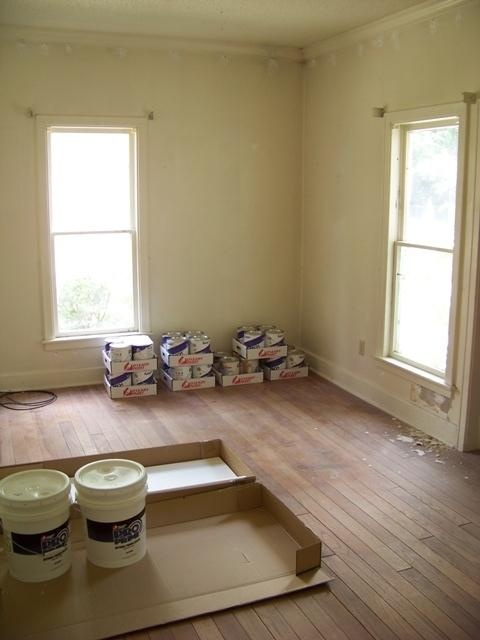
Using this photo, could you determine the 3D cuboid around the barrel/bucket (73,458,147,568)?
[{"bbox_3d":[-0.499,0.751,1.945,0.265,0.361,0.307,-1,7,-11],"label":"barrel/bucket"}]
